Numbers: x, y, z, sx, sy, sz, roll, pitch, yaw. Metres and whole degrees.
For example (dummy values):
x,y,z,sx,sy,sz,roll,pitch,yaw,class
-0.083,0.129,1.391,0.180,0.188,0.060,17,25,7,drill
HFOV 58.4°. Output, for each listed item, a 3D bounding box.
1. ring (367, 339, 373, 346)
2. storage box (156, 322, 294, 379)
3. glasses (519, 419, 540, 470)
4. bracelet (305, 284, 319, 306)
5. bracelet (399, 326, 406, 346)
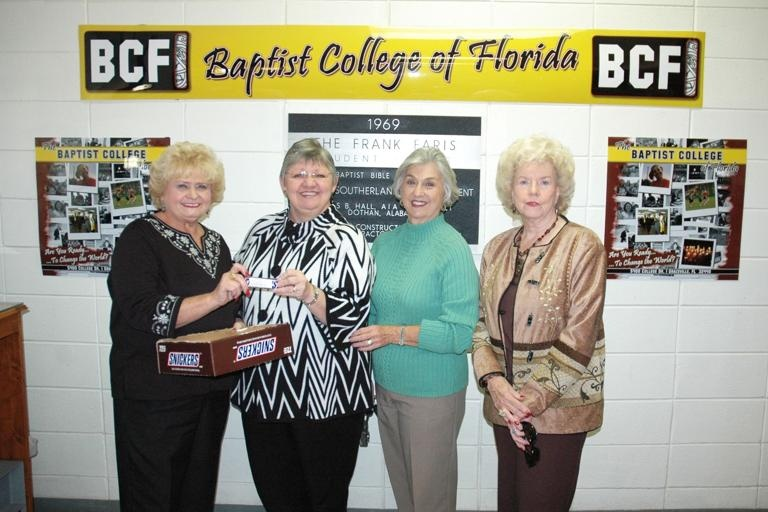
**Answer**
x,y,z,sx,sy,sz,roll,pitch,yaw,class
-0.064,0.460,3.641,0.030,0.020,0.028,-9,-15,-2,ring
-0.804,0.482,3.473,0.683,0.240,0.152,0,7,-8,storage box
0.767,0.977,3.583,0.099,0.253,0.052,2,7,11,glasses
-0.359,0.213,3.560,0.036,0.093,0.086,2,5,-27,bracelet
0.101,0.436,3.707,0.029,0.103,0.032,1,7,4,bracelet
